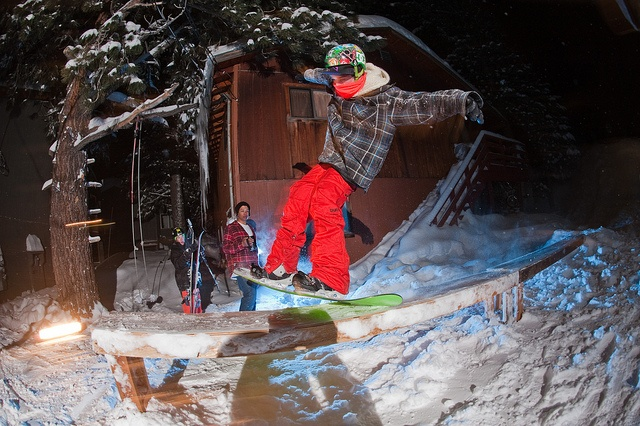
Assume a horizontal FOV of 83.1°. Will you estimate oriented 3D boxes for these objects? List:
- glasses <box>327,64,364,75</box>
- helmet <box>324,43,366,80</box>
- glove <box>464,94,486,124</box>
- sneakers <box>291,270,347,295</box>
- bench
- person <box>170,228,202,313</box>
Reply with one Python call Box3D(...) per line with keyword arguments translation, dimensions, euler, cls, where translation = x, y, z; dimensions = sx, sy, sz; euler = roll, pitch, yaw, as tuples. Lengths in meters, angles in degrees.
Box3D(translation=(0.316, -1.780, 4.524), dimensions=(0.280, 0.088, 0.194), euler=(-14, 16, -28), cls="glasses")
Box3D(translation=(0.340, -1.925, 4.704), dimensions=(0.526, 0.373, 0.354), euler=(10, -4, -18), cls="helmet")
Box3D(translation=(1.726, -1.139, 4.068), dimensions=(0.282, 0.334, 0.181), euler=(-4, 6, 6), cls="glove")
Box3D(translation=(-0.008, 0.809, 4.426), dimensions=(0.612, 0.200, 0.265), euler=(14, 10, 5), cls="sneakers")
Box3D(translation=(0.333, 1.456, 4.839), dimensions=(4.344, 0.587, 0.882), euler=(-15, 14, -8), cls="bench")
Box3D(translation=(-2.711, 1.162, 7.328), dimensions=(0.301, 1.896, 0.502), euler=(-18, -10, 42), cls="person")
